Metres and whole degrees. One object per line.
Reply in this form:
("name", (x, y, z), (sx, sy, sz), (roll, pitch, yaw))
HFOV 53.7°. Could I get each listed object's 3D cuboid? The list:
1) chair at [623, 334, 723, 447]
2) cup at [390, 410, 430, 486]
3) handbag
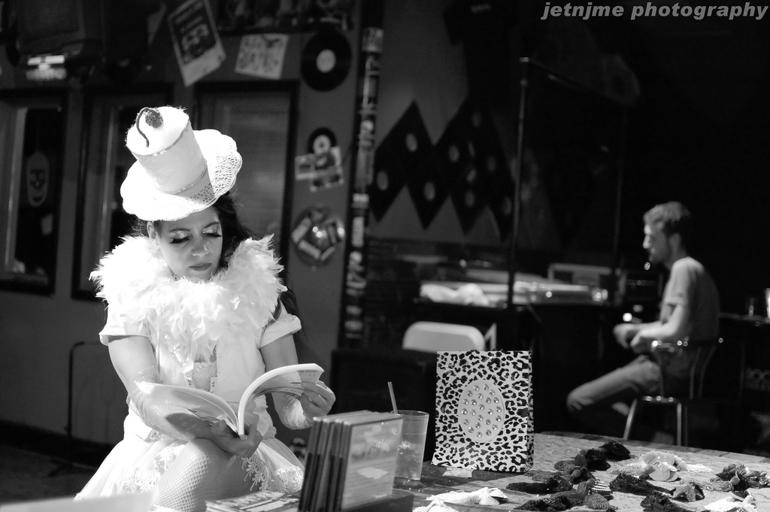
("chair", (1.534, 0.727, 4.135), (0.451, 0.657, 0.399), (7, 5, 36))
("cup", (0.080, 0.644, 2.632), (0.166, 0.204, 0.174), (5, 0, 0))
("handbag", (0.360, 0.558, 2.799), (0.354, 0.439, 0.169), (3, 12, 21))
